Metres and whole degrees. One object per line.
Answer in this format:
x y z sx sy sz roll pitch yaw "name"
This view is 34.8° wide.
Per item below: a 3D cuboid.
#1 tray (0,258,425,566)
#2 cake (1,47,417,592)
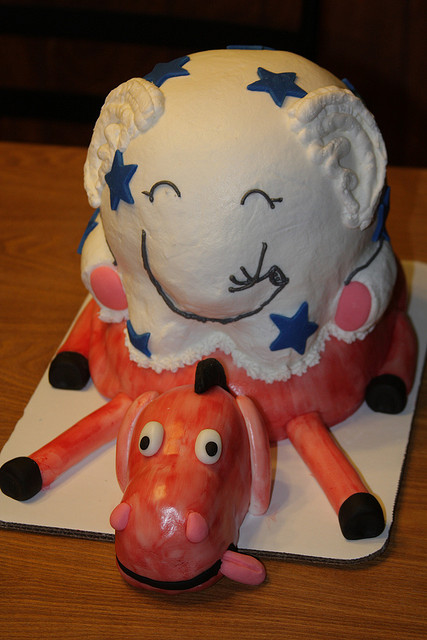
0.018 0.092 0.979 0.577 0.113 0.543 7 47 8 "tray"
0.012 -0.058 0.863 0.484 0.413 0.655 6 54 11 "cake"
